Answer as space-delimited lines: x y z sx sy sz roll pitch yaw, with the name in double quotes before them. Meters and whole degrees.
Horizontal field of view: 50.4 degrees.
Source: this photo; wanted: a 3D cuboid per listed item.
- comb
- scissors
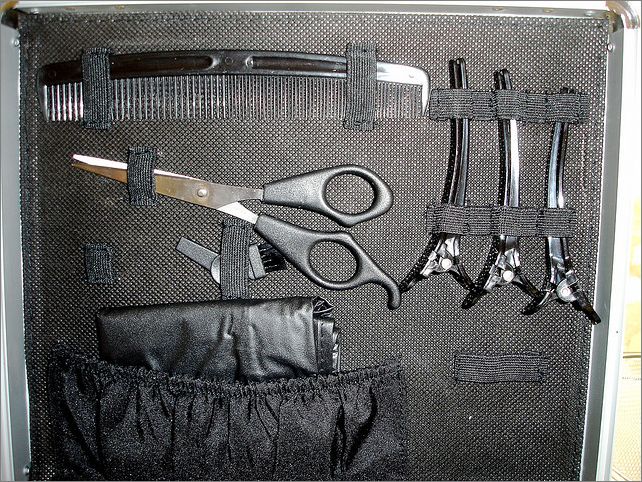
"comb" -0.152 -0.258 1.143 0.664 0.119 0.022 1 1 1
"scissors" -0.130 -0.044 1.156 0.595 0.233 0.046 12 29 5
